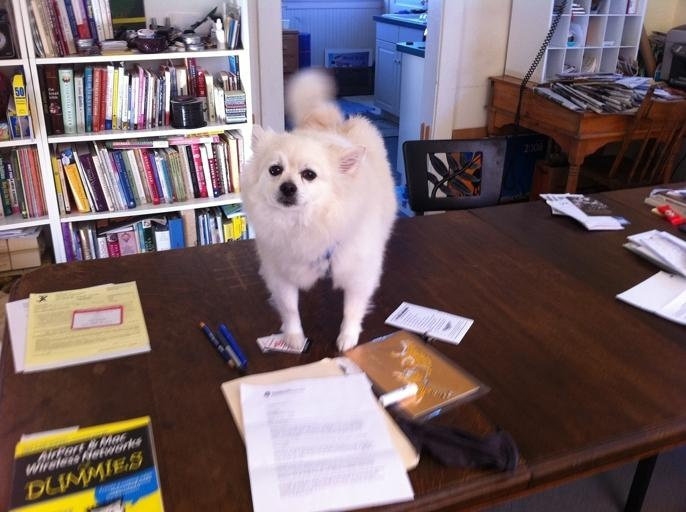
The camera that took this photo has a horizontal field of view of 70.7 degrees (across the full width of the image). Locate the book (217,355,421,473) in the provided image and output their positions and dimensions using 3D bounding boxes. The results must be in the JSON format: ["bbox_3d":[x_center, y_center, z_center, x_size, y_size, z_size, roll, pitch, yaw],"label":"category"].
[{"bbox_3d":[-0.063,0.376,1.249,0.522,0.081,0.294,2,26,10],"label":"book"}]

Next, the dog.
[{"bbox_3d":[-0.054,-0.151,1.745,0.455,0.799,0.954,3,20,6],"label":"dog"}]

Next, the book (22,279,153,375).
[{"bbox_3d":[-0.773,0.209,1.454,0.252,0.039,0.280,-7,41,-19],"label":"book"}]

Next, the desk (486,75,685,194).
[{"bbox_3d":[1.524,-0.935,3.500,0.554,0.658,1.080,-9,27,-14],"label":"desk"}]
